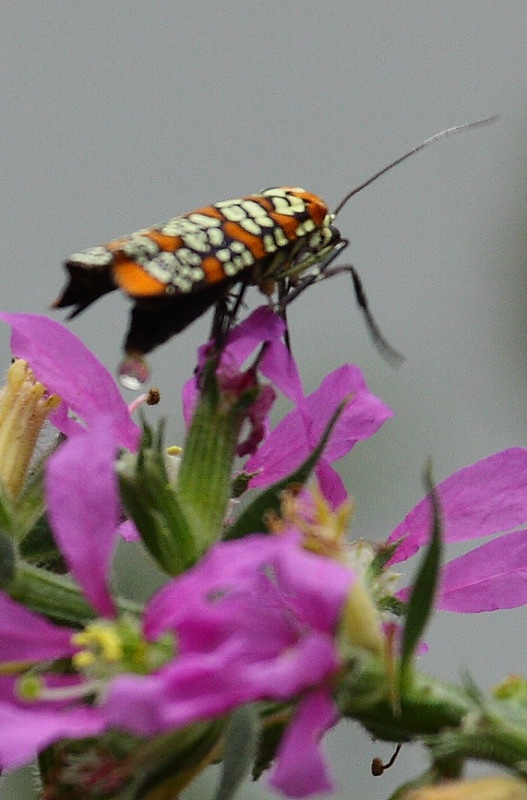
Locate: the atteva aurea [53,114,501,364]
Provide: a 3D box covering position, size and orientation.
[{"bbox_3d":[-0.014,-0.057,0.438,0.198,0.077,0.103,-5,2,-31],"label":"atteva aurea"}]
